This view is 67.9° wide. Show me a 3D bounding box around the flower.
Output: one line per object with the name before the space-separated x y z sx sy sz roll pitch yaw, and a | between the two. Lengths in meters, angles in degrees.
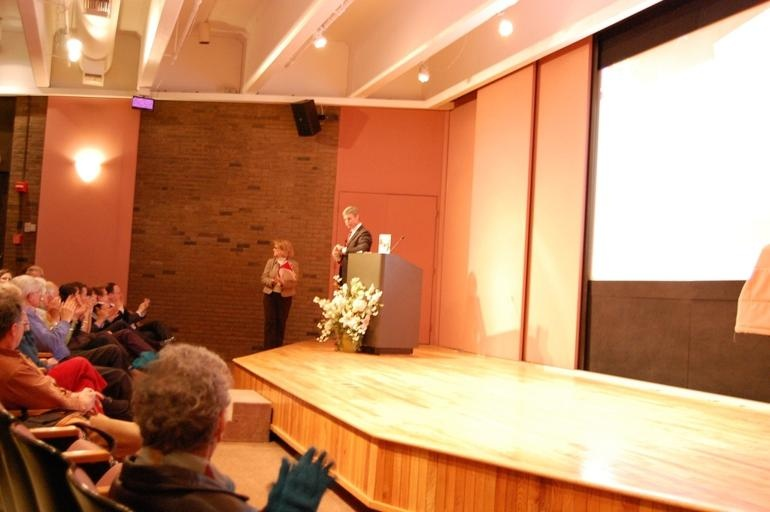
flower | -0.461 0.789 6.682 0.673 0.619 0.579 0 0 14

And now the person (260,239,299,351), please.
person | -1.463 0.543 7.898 0.468 1.359 0.464 3 -1 -5

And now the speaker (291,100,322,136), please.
speaker | -1.260 -2.216 9.241 0.395 0.505 0.480 3 -1 11

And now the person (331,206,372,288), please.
person | -0.388 -0.143 7.353 0.462 0.824 0.972 3 -1 -15

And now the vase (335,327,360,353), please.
vase | -0.430 0.999 6.721 0.253 0.277 0.286 1 -4 1
